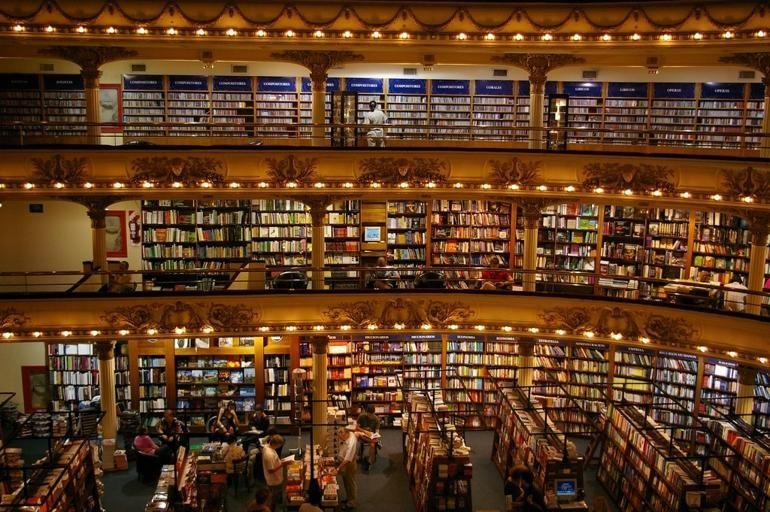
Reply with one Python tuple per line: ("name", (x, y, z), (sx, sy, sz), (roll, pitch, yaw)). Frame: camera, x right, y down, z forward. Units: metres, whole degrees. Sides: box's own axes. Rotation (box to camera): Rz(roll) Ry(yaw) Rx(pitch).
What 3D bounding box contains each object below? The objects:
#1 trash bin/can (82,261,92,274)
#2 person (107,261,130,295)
("trash bin/can", (-7.728, 0.303, 19.003), (0.304, 0.282, 0.302), (-1, 6, -13))
("person", (-6.549, 0.573, 18.005), (0.494, 0.380, 0.711), (8, 44, -11))
